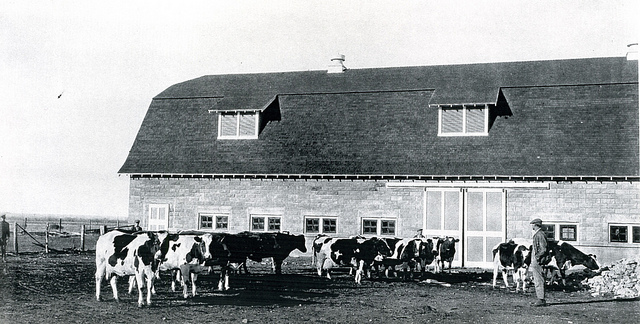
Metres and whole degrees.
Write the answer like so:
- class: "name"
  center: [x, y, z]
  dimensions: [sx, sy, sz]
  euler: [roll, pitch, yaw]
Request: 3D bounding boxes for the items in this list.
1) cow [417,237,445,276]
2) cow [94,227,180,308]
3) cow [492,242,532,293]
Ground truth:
- class: "cow"
  center: [6.508, 5.469, 69.775]
  dimensions: [1.067, 1.506, 2.797]
  euler: [6, -21, -6]
- class: "cow"
  center: [-10.200, 5.807, 64.061]
  dimensions: [5.852, 4.053, 2.149]
  euler: [-4, -5, 43]
- class: "cow"
  center: [11.160, 6.121, 67.537]
  dimensions: [2.177, 2.633, 1.355]
  euler: [6, 15, 18]
